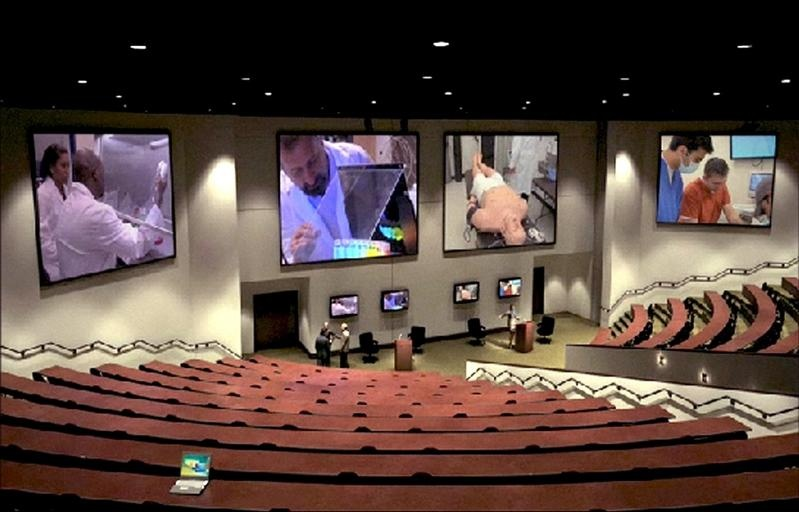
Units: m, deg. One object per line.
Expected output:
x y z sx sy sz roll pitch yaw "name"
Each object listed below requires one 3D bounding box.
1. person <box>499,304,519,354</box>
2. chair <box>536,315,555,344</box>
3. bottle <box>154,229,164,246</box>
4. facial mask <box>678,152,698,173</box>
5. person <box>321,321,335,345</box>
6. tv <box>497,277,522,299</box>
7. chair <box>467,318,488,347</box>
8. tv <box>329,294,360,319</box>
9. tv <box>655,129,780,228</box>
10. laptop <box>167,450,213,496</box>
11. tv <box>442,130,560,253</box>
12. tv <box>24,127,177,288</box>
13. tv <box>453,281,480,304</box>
3.577 2.295 19.797 0.651 1.389 1.521 -2 6 9 "person"
4.812 2.458 20.083 0.517 0.854 0.733 -2 6 13 "chair"
-6.011 -0.424 15.052 0.209 0.288 0.243 -1 23 -15 "bottle"
9.356 -3.015 19.538 0.405 0.661 0.555 9 20 24 "facial mask"
-2.137 2.264 17.470 0.280 0.827 0.432 -19 29 -32 "person"
3.601 1.071 20.191 0.691 0.508 0.095 -4 9 -23 "tv"
2.405 2.527 19.743 0.797 1.015 0.768 0 -2 -9 "chair"
-1.750 1.522 18.524 1.157 0.968 0.626 -1 2 -20 "tv"
10.272 -2.608 19.287 3.067 2.730 0.231 2 14 13 "tv"
-2.629 2.740 7.530 0.434 0.323 0.472 1 6 -1 "laptop"
3.087 -2.207 19.502 3.839 3.453 0.278 -2 6 -17 "tv"
-6.751 -1.097 13.348 0.137 2.615 3.564 3 11 25 "tv"
2.092 1.190 19.665 0.704 0.522 0.101 -2 5 -22 "tv"
